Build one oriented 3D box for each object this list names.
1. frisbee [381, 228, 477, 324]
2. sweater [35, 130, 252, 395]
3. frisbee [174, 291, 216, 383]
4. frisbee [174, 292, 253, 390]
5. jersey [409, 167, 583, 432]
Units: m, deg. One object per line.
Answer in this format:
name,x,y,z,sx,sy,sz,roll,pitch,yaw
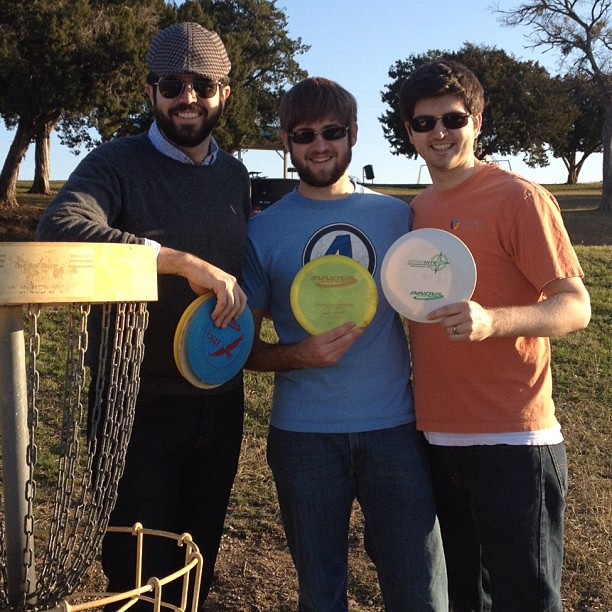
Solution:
frisbee,0.457,-0.121,2.668,0.339,0.358,0.047,-2,1,33
sweater,-0.557,-0.156,3.062,0.573,1.184,1.292,9,14,37
frisbee,-0.429,0.113,2.597,0.120,0.362,0.238,1,6,-25
frisbee,-0.347,0.133,2.638,0.133,0.379,0.330,6,6,27
jersey,0.737,-0.013,2.873,0.687,1.111,0.457,5,6,15
